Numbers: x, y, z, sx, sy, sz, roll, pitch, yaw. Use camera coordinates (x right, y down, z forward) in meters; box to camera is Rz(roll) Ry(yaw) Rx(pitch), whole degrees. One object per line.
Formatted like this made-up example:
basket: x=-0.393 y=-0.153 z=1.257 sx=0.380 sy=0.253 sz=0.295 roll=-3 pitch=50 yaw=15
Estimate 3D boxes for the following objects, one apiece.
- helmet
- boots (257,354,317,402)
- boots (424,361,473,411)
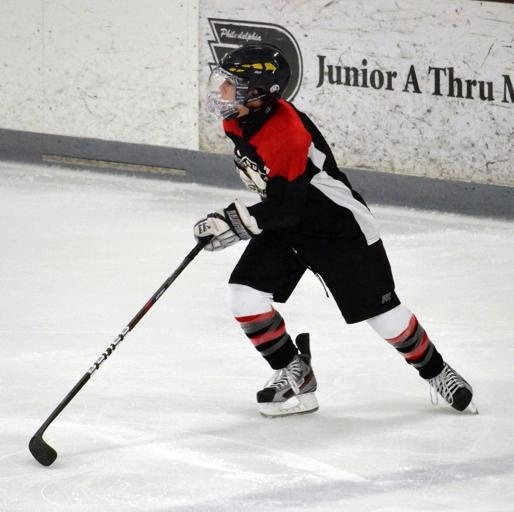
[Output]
helmet: x=-0.023 y=-0.486 z=1.959 sx=0.260 sy=0.154 sz=0.153 roll=-8 pitch=28 yaw=-7
boots: x=0.076 y=0.363 z=2.055 sx=0.237 sy=0.102 sz=0.093 roll=-9 pitch=9 yaw=-43
boots: x=0.592 y=0.392 z=2.081 sx=0.091 sy=0.244 sz=0.082 roll=35 pitch=98 yaw=11
